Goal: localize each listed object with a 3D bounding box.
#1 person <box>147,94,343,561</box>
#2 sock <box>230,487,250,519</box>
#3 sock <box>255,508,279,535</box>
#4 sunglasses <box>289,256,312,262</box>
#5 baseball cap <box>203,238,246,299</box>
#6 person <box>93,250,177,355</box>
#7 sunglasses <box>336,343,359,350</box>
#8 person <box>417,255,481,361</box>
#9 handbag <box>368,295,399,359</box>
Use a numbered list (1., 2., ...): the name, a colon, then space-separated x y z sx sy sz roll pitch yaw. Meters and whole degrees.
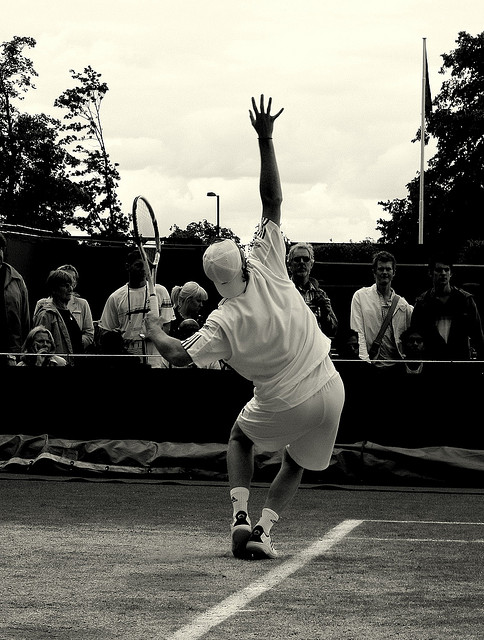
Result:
1. person: 0.056 0.069 6.038 0.658 1.971 0.691 1 4 39
2. sock: -0.005 0.873 6.025 0.094 0.185 0.125 1 -3 1
3. sock: 0.115 0.930 5.888 0.058 0.135 0.134 16 40 4
4. sunglasses: 0.444 -0.448 9.508 0.124 0.046 0.037 -3 3 2
5. baseball cap: -0.080 -0.237 5.993 0.165 0.297 0.152 -10 4 26
6. person: -0.981 -0.144 11.563 0.723 0.426 1.438 -2 -43 -2
7. sunglasses: 0.848 0.212 10.027 0.119 0.033 0.075 -11 3 -9
8. person: 1.658 -0.071 10.094 0.499 0.749 0.775 -2 3 8
9. handbag: 1.153 0.085 10.200 0.056 0.544 0.077 10 -29 23
